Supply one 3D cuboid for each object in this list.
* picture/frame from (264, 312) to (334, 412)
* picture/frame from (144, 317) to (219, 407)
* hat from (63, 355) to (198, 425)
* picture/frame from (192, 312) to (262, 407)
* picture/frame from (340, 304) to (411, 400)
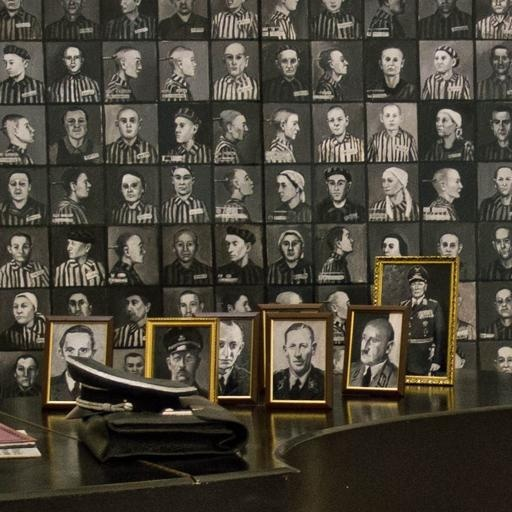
[{"bbox_3d":[0.135,0.330,2.731,0.303,0.396,0.030,0,-12,3],"label":"picture/frame"},{"bbox_3d":[-0.214,0.310,2.588,0.274,0.355,0.025,0,-18,-3],"label":"picture/frame"},{"bbox_3d":[-0.330,0.366,2.418,0.389,0.181,0.309,4,-10,-15],"label":"hat"},{"bbox_3d":[-0.094,0.319,2.737,0.281,0.352,0.037,-1,-14,-1],"label":"picture/frame"},{"bbox_3d":[0.383,0.307,2.849,0.286,0.394,0.030,3,-18,14],"label":"picture/frame"}]
